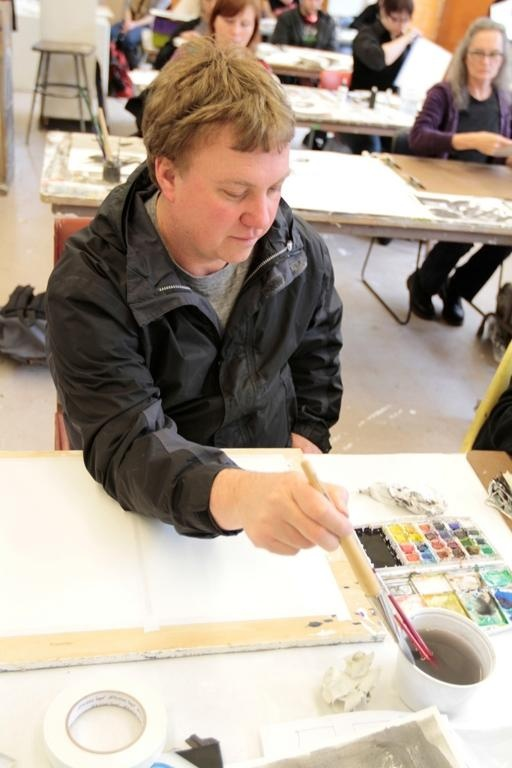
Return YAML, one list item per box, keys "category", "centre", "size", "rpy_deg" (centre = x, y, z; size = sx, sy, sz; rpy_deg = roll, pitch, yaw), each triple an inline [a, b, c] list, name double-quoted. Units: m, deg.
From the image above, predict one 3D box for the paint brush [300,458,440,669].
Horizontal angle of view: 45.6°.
- category: "paint brush"
  centre: [0.158, 0.255, 0.841]
  size: [0.295, 0.043, 0.027]
  rpy_deg: [60, 7, 13]

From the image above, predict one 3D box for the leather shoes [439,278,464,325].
- category: "leather shoes"
  centre: [1.107, -0.454, 3.494]
  size: [0.100, 0.124, 0.292]
  rpy_deg: [-10, 62, -3]
